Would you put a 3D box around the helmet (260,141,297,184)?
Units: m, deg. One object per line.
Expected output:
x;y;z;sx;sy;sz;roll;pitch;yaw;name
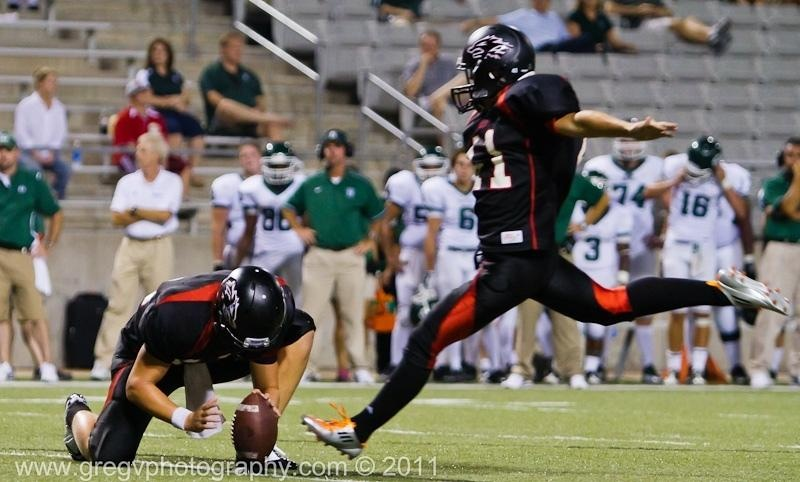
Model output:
-1.446;-0.926;15.951;0.382;0.453;0.507;-1;7;-7;helmet

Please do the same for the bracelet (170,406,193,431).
-1.878;1.498;11.371;0.126;0.177;0.177;0;30;-23;bracelet

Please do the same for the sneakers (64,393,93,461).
-2.859;1.635;11.847;0.290;0.518;0.276;2;0;3;sneakers
